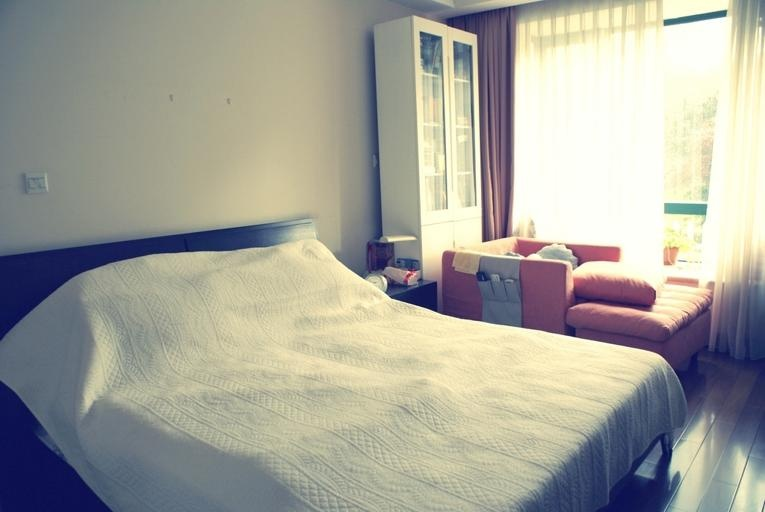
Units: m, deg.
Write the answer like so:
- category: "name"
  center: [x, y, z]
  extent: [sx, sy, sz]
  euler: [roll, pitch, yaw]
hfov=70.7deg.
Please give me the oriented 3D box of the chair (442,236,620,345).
- category: "chair"
  center: [1.119, 0.193, 4.600]
  extent: [0.907, 0.629, 0.943]
  euler: [4, 9, 35]
